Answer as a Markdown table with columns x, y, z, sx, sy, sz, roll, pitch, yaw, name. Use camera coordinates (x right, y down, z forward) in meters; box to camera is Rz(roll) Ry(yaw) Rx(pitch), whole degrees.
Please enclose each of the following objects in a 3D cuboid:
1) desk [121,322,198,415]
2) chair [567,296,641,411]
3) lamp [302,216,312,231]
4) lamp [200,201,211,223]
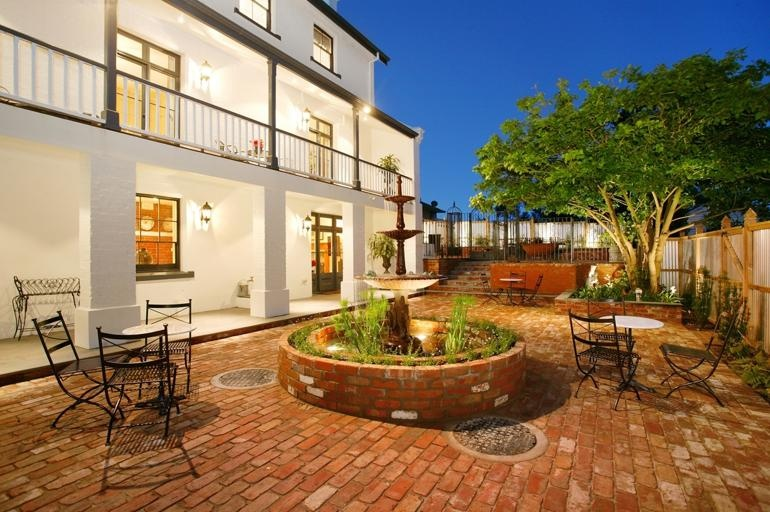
| x | y | z | sx | sy | sz | roll | pitch | yaw | name |
| --- | --- | --- | --- | --- | --- | --- | --- | --- | --- |
| -3.958 | 1.831 | 8.180 | 0.933 | 1.277 | 0.983 | -19 | -19 | 21 | desk |
| 4.260 | 1.911 | 9.000 | 1.571 | 2.074 | 1.282 | -9 | 9 | -35 | chair |
| -2.712 | -1.177 | 16.479 | 0.289 | 0.494 | 0.486 | -3 | 1 | 16 | lamp |
| -5.099 | -1.243 | 13.433 | 0.296 | 0.647 | 0.377 | -3 | 1 | 41 | lamp |
